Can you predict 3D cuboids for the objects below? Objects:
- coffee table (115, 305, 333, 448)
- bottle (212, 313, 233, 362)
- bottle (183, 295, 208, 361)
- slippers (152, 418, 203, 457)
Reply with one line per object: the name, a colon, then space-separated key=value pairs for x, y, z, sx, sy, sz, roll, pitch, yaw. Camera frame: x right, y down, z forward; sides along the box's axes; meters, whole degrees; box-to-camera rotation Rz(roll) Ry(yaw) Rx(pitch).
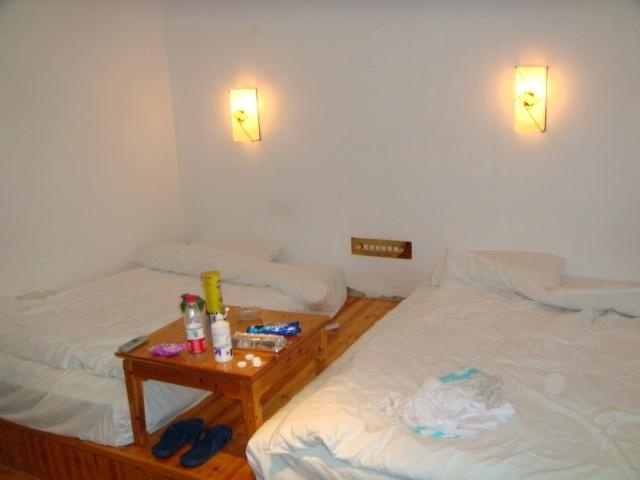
coffee table: x=-0.496 y=0.540 z=2.316 sx=0.751 sy=0.458 sz=0.751 roll=3 pitch=12 yaw=27
bottle: x=-0.452 y=0.435 z=2.177 sx=0.100 sy=0.199 sz=0.196 roll=-3 pitch=11 yaw=-12
bottle: x=-0.597 y=0.380 z=2.257 sx=0.108 sy=0.263 sz=0.236 roll=-4 pitch=11 yaw=-17
slippers: x=-0.702 y=0.970 z=2.331 sx=0.097 sy=0.058 sz=0.218 roll=10 pitch=18 yaw=22
